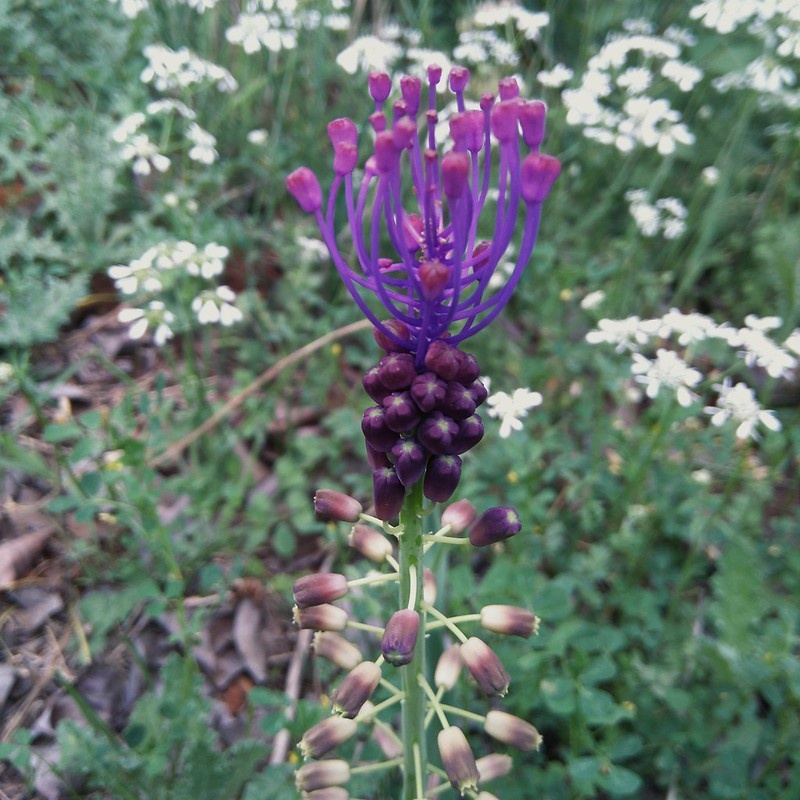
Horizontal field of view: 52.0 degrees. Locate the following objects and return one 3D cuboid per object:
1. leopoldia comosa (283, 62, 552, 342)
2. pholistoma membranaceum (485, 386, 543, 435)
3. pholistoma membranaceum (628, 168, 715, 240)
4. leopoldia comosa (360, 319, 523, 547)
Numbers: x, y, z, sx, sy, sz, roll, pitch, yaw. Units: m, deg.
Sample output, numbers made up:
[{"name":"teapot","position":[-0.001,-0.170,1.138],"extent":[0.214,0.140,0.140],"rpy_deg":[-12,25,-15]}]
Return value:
[{"name":"leopoldia comosa","position":[0.000,-0.592,2.523],"extent":[0.605,1.205,0.596],"rpy_deg":[7,26,14]},{"name":"pholistoma membranaceum","position":[0.390,0.057,2.792],"extent":[0.175,0.048,0.178],"rpy_deg":[-35,54,7]},{"name":"pholistoma membranaceum","position":[1.113,-0.804,3.496],"extent":[0.372,0.114,0.377],"rpy_deg":[32,61,16]},{"name":"leopoldia comosa","position":[0.092,0.042,1.928],"extent":[0.246,0.514,0.259],"rpy_deg":[16,21,33]}]
